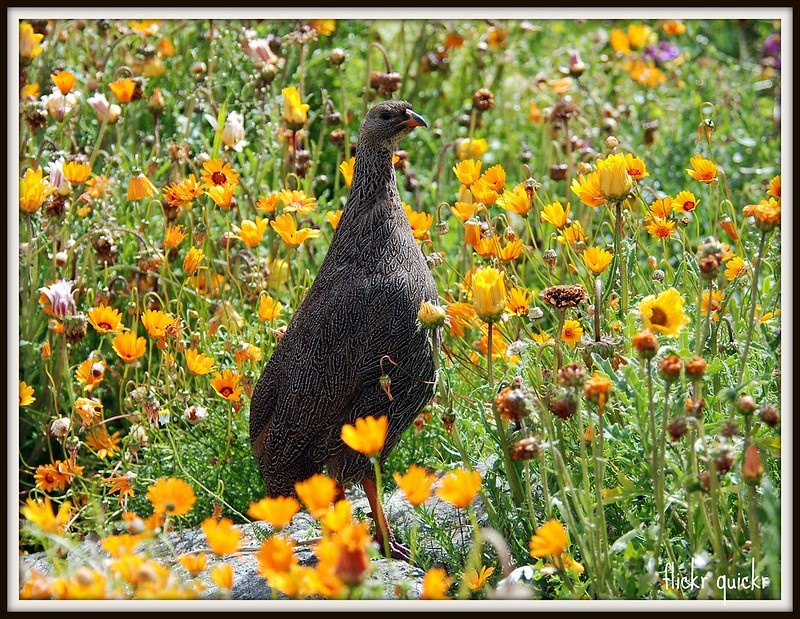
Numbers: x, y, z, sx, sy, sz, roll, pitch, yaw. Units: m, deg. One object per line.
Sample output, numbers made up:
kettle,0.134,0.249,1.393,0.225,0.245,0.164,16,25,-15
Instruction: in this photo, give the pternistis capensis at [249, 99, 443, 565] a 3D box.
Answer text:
pternistis capensis,-0.235,0.108,4.712,0.744,2.062,0.827,1,0,-4
